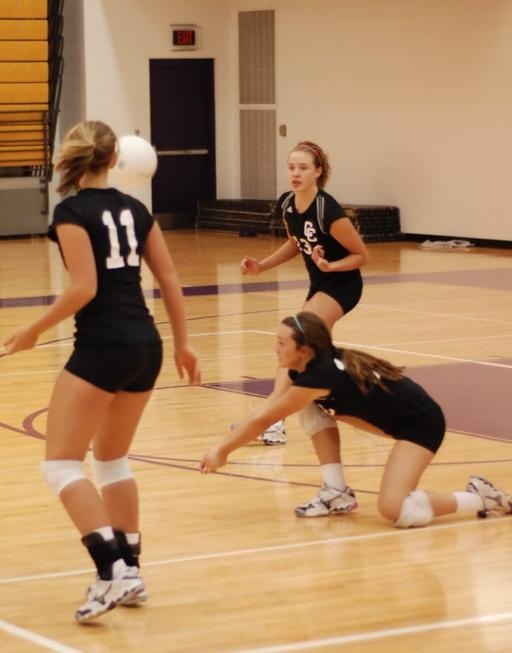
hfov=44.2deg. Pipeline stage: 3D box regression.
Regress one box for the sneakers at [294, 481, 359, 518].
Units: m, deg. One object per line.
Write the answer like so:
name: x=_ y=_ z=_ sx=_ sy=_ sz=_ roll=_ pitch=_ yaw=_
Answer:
sneakers: x=0.238 y=0.570 z=2.096 sx=0.231 sy=0.093 sz=0.077 roll=-4 pitch=0 yaw=-14

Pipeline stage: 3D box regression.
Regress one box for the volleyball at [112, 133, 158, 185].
volleyball: x=-0.907 y=-1.249 z=4.659 sx=0.336 sy=0.350 sz=0.308 roll=-30 pitch=10 yaw=-4

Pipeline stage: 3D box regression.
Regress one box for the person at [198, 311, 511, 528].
person: x=0.303 y=0.278 z=1.920 sx=0.974 sy=0.662 sz=0.430 roll=-2 pitch=-3 yaw=-15
